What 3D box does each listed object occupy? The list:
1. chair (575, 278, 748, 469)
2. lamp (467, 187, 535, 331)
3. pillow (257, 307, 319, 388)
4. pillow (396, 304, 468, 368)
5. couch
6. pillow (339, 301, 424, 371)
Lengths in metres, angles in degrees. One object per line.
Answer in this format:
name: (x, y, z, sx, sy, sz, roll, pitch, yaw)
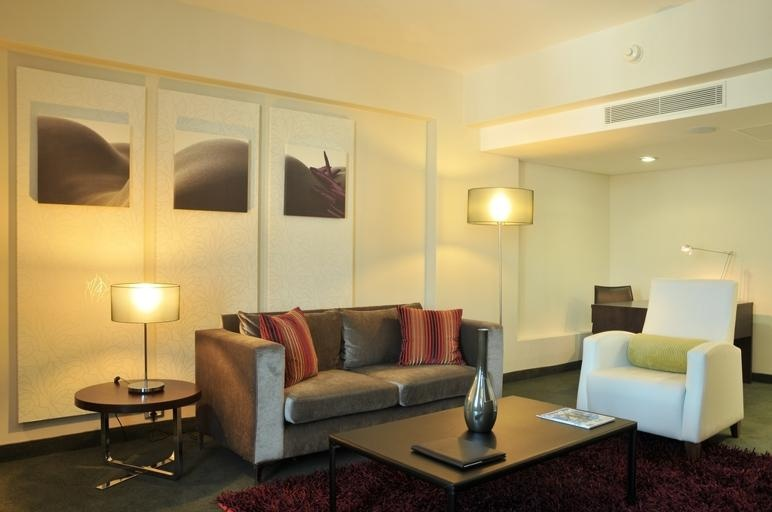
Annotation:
chair: (2.307, 0.978, 5.189, 1.425, 1.636, 1.413, 7, -8, -43)
lamp: (1.230, 0.020, 6.078, 0.637, 1.589, 1.043, 0, 2, 8)
pillow: (-0.765, 0.733, 4.291, 0.256, 0.478, 0.565, -1, 0, 23)
pillow: (0.404, 0.745, 5.001, 0.496, 0.426, 0.169, 4, -27, -13)
couch: (-0.232, 1.050, 4.938, 2.564, 1.109, 1.110, 2, -1, -40)
pillow: (-0.102, 0.751, 5.113, 0.779, 0.528, 0.277, 2, 6, -44)
